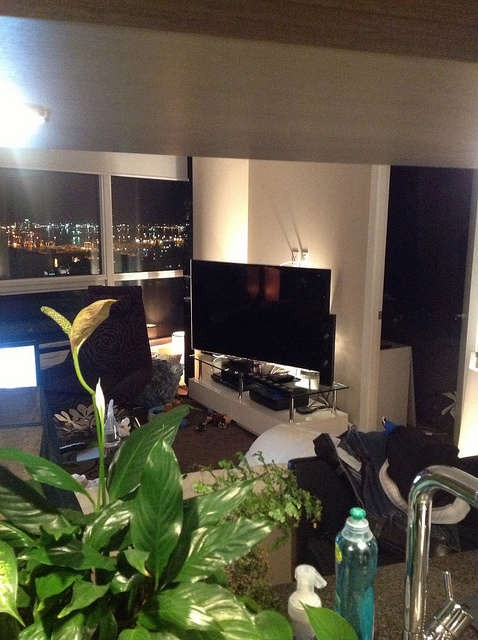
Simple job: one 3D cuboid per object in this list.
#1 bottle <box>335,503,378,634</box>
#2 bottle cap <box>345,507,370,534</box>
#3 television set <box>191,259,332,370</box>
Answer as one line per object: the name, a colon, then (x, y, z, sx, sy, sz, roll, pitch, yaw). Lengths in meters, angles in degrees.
bottle: (0.207, 0.444, 0.843, 0.073, 0.185, 0.055, -3, 3, -1)
bottle cap: (0.209, 0.356, 0.857, 0.044, 0.044, 0.045, 1, 11, 8)
television set: (0.230, -0.064, 4.299, 1.465, 0.911, 0.099, 7, 11, 36)
